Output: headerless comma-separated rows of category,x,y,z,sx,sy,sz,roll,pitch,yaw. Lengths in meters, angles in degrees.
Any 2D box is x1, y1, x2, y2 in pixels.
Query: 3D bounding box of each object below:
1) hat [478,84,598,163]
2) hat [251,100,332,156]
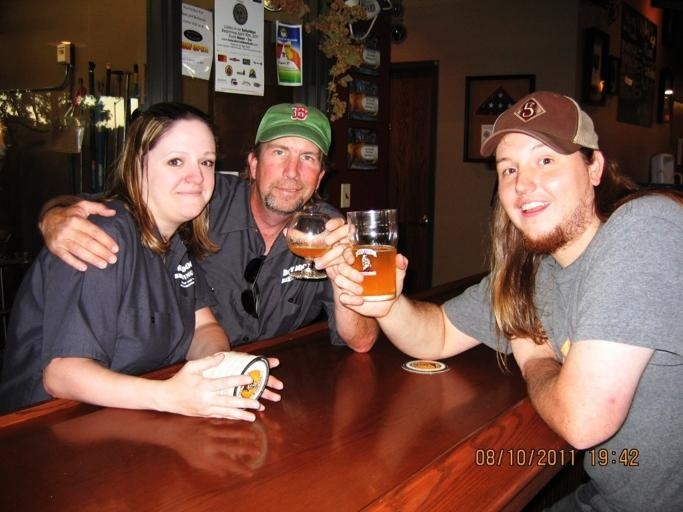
hat,0.707,-0.503,1.812,0.249,0.166,0.335,12,12,-13
hat,-0.209,-0.627,2.514,0.412,0.215,0.402,2,9,-17
